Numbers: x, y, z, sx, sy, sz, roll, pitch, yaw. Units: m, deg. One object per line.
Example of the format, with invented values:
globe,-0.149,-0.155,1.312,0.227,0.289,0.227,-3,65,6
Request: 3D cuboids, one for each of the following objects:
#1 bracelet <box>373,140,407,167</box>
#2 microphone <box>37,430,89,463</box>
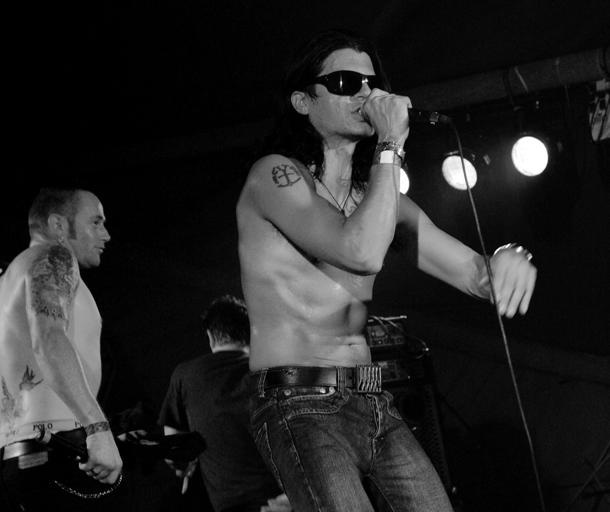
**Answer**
bracelet,0.302,-0.376,2.419,0.092,0.069,0.090,-3,-5,30
microphone,-1.112,0.870,3.055,0.233,0.075,0.071,36,3,-30
